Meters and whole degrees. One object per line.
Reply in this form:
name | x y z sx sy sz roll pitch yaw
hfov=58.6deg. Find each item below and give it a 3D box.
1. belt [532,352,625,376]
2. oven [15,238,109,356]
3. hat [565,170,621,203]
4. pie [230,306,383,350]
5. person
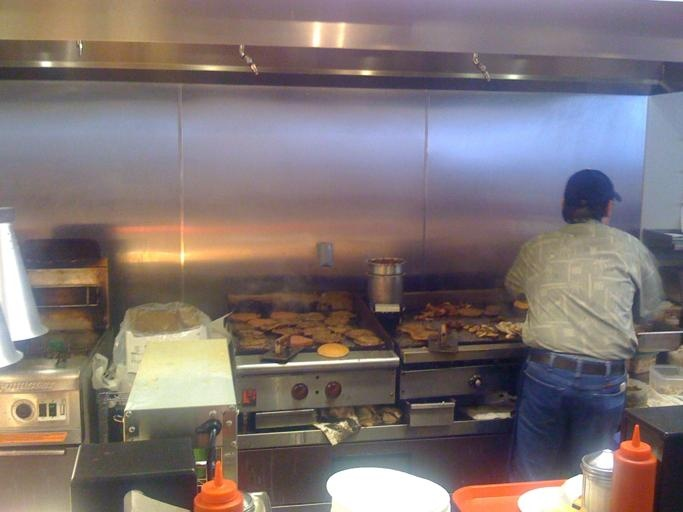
belt | 1.056 0.481 2.716 0.178 0.041 0.177 5 4 27
oven | -1.360 0.230 3.205 0.505 0.625 0.423 -1 -3 5
hat | 1.191 -0.343 2.905 0.218 0.121 0.161 -11 16 -40
pie | -0.209 0.377 3.198 0.778 0.099 0.573 -5 11 -7
person | 1.124 0.331 2.855 0.710 1.430 0.442 -4 12 -1
